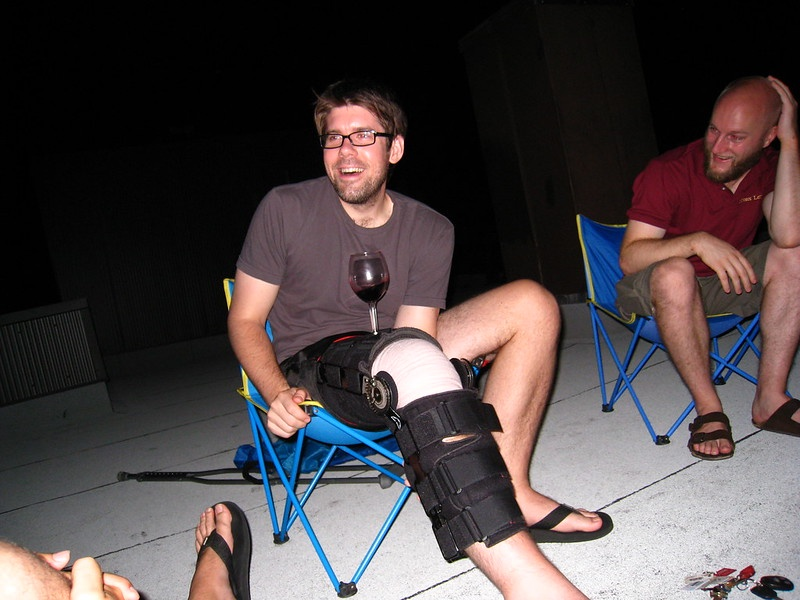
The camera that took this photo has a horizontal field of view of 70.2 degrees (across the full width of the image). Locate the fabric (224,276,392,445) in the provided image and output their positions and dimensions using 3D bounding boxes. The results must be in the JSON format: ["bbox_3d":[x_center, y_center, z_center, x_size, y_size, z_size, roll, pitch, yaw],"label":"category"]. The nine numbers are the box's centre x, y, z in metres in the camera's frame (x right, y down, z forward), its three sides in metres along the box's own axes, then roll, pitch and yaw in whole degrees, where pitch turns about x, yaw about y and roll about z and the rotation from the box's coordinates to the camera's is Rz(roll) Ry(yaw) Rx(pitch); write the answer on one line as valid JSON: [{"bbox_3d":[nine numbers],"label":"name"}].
[{"bbox_3d":[-0.295,0.182,1.930,0.264,0.179,0.652,5,43,-15],"label":"fabric"}]

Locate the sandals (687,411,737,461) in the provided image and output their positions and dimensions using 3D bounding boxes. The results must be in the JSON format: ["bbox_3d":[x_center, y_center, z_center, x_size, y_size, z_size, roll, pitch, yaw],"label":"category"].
[{"bbox_3d":[1.200,0.536,2.216,0.156,0.163,0.139,-7,8,26],"label":"sandals"}]

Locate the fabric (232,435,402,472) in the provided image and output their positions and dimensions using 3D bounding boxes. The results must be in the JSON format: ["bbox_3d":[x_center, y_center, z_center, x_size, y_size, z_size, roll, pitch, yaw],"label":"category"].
[{"bbox_3d":[-0.466,0.716,2.615,0.374,0.108,0.383,-1,1,4],"label":"fabric"}]

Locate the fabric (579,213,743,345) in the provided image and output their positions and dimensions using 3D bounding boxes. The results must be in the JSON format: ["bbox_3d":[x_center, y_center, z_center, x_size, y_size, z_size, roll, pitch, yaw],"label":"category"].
[{"bbox_3d":[1.069,-0.184,2.665,0.537,0.378,0.764,-6,26,-27],"label":"fabric"}]

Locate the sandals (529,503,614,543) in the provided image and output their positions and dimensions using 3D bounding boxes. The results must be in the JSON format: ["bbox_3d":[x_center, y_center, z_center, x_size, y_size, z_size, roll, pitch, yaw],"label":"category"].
[{"bbox_3d":[0.588,0.756,1.918,0.336,0.109,0.128,-4,5,-2],"label":"sandals"}]
